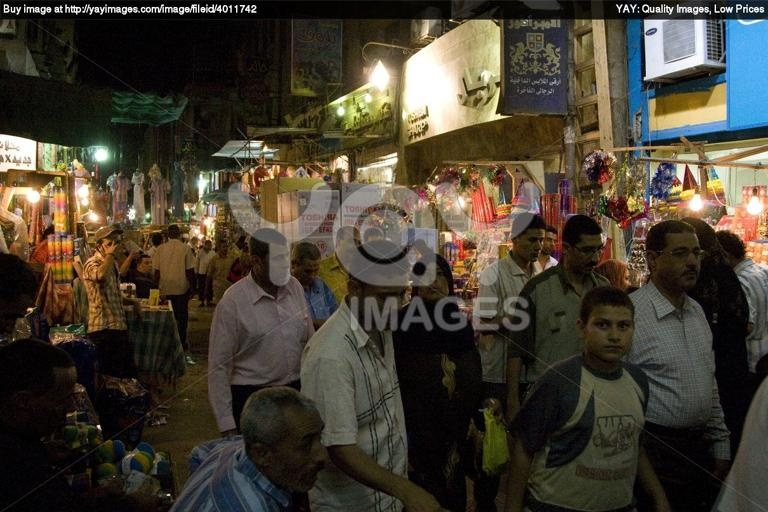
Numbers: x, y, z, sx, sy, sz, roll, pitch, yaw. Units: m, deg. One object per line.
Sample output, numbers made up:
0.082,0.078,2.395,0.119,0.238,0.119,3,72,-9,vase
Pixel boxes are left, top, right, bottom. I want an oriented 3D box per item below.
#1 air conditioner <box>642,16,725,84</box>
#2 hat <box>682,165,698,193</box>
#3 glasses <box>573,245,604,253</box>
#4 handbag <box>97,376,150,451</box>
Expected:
3.896,-2.727,8.280,0.515,0.744,0.897,-3,5,-27,air conditioner
3.651,-0.942,7.644,0.162,0.323,0.354,-1,2,25,hat
1.440,-0.047,4.484,0.191,0.053,0.053,-3,2,-11,glasses
-2.396,1.393,5.797,0.532,0.693,0.711,3,-10,-31,handbag
